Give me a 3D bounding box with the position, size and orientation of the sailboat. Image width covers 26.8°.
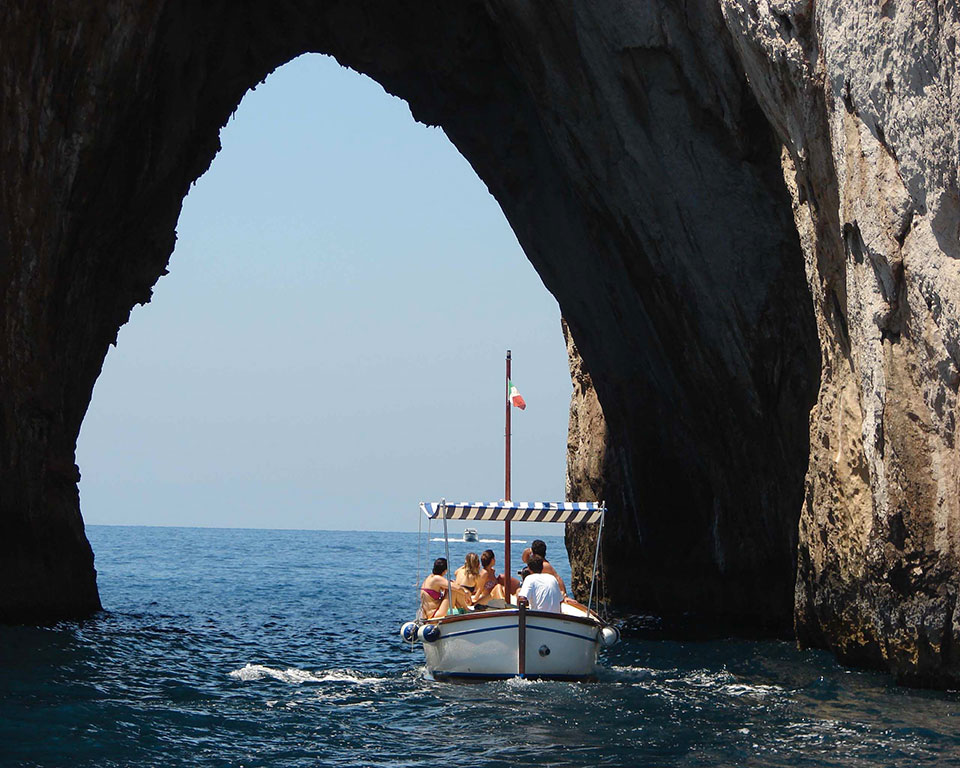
[{"bbox_3d":[0.854,2.873,32.933,2.523,4.913,4.321,2,-11,-11],"label":"sailboat"}]

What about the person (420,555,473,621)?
[{"bbox_3d":[-0.585,3.178,31.224,0.712,1.028,0.621,-9,13,-43],"label":"person"}]
